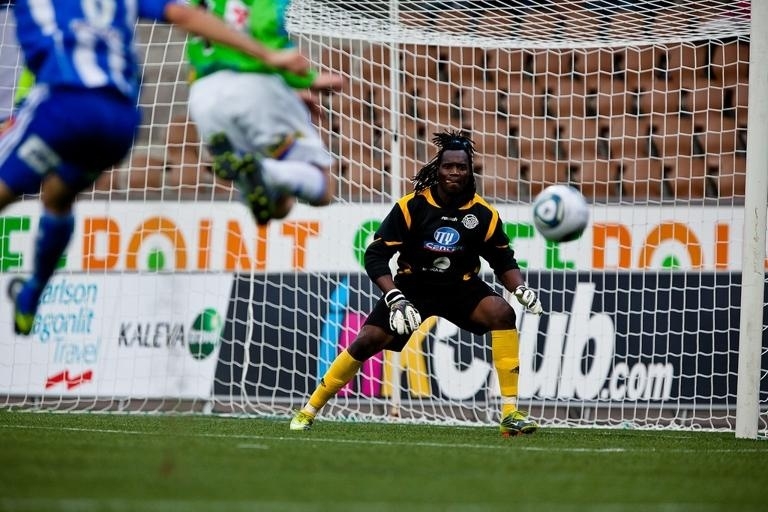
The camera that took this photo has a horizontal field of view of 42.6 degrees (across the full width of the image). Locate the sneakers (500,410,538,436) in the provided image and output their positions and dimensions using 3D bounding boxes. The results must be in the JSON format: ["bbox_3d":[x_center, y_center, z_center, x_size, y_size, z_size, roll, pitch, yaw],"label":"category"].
[{"bbox_3d":[0.938,1.183,6.955,0.248,0.153,0.131,-7,-7,31],"label":"sneakers"}]

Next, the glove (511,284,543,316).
[{"bbox_3d":[1.032,0.303,7.007,0.248,0.204,0.174,4,-3,-42],"label":"glove"}]

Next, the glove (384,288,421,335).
[{"bbox_3d":[0.098,0.365,6.782,0.219,0.303,0.138,-22,-24,-41],"label":"glove"}]

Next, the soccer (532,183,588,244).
[{"bbox_3d":[1.231,-0.300,6.841,0.408,0.510,0.434,-3,1,20],"label":"soccer"}]

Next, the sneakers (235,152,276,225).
[{"bbox_3d":[-0.782,-0.411,6.123,0.158,0.483,0.216,-23,-7,9],"label":"sneakers"}]
